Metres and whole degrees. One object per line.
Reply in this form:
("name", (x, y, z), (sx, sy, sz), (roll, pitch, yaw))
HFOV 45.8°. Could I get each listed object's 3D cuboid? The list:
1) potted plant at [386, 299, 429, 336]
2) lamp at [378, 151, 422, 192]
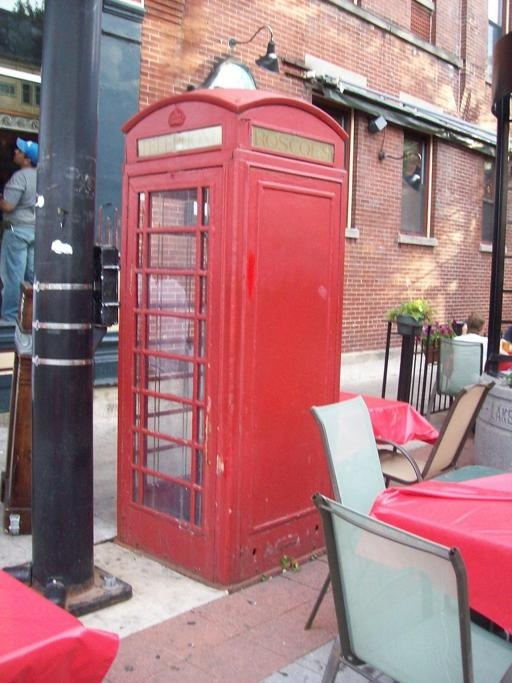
("potted plant", (1.744, -0.251, 6.847), (0.540, 0.402, 0.394), (1, 3, 1))
("lamp", (2.859, -3.476, 11.949), (0.159, 0.793, 1.985), (2, 4, 35))
